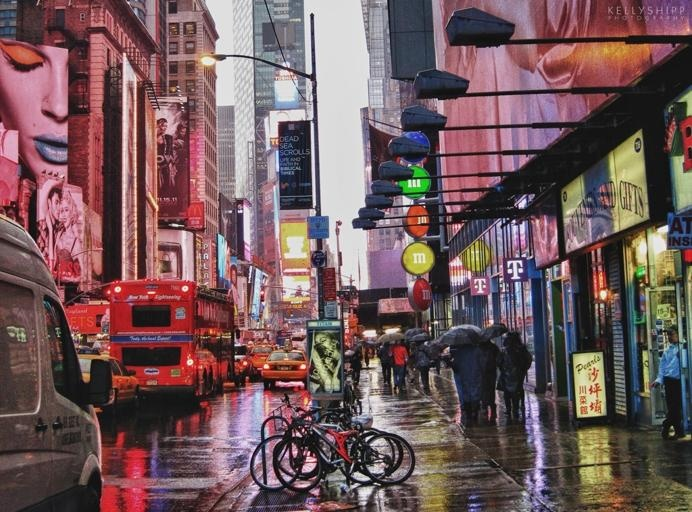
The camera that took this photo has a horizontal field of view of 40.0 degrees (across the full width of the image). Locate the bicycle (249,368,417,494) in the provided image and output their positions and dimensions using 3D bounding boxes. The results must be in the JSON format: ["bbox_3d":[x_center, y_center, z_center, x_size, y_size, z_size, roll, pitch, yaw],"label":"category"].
[{"bbox_3d":[-0.246,3.300,16.333,2.685,1.669,1.450,3,-18,-3],"label":"bicycle"}]

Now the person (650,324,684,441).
[{"bbox_3d":[6.067,2.366,17.814,0.494,2.104,0.652,-5,-8,19],"label":"person"}]

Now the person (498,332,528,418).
[{"bbox_3d":[4.090,2.895,23.200,0.827,2.084,1.001,-5,-8,23],"label":"person"}]

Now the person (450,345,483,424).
[{"bbox_3d":[2.949,3.093,23.060,0.741,1.877,1.588,-3,-8,7],"label":"person"}]
